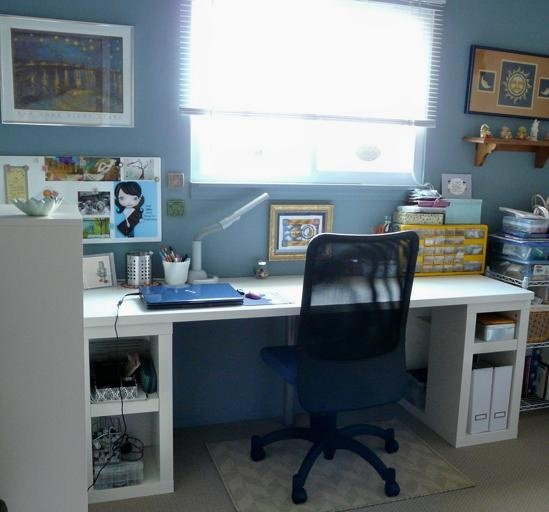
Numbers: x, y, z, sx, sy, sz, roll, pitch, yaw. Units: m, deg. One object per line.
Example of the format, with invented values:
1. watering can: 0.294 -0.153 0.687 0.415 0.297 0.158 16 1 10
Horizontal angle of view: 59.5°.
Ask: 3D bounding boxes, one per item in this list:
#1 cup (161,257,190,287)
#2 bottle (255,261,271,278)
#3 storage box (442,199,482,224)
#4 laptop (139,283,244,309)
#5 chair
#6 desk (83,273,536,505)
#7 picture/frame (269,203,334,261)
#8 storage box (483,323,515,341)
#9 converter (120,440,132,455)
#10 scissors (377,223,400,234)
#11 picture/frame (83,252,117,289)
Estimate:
1. cup: -0.439 0.075 2.147 0.121 0.091 0.107 2 5 5
2. bottle: -0.060 0.073 2.440 0.057 0.075 0.079 1 8 0
3. storage box: 1.034 -0.246 2.645 0.162 0.101 0.161 1 8 9
4. laptop: -0.354 0.161 2.010 0.392 0.035 0.313 -2 10 -20
5. chair: 0.235 0.425 1.919 0.595 1.093 0.431 1 10 -3
6. desk: 0.162 0.538 2.322 2.051 0.757 0.601 -2 10 -16
7. picture/frame: 0.107 -0.119 2.299 0.303 0.256 0.022 -2 9 -13
8. storage box: 1.075 0.368 2.317 0.093 0.062 0.131 0 1 5
9. converter: -0.655 0.847 2.112 0.049 0.059 0.049 0 5 -16
10. scissors: 0.602 -0.146 2.540 0.073 0.036 0.101 -3 5 -21
11. picture/frame: -0.771 0.068 2.111 0.144 0.120 0.014 -18 7 -44
